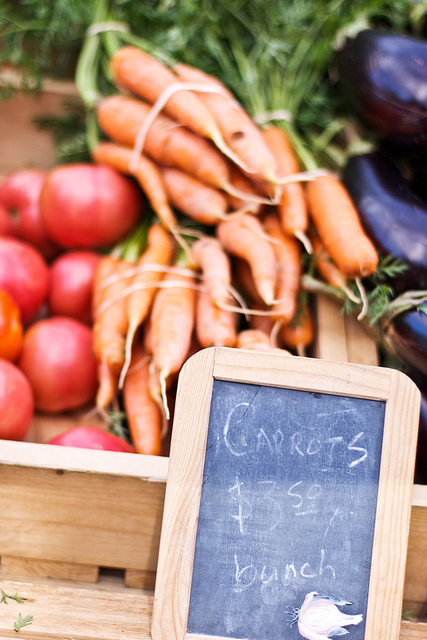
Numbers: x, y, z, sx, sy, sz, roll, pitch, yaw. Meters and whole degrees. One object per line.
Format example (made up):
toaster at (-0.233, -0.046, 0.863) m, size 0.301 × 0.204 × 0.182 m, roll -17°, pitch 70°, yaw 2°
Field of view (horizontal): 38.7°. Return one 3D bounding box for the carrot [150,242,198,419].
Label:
carrot at (-0.060, 0.011, 0.918) m, size 0.049 × 0.052 × 0.256 m, roll -16°, pitch 52°, yaw 41°

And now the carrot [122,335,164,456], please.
carrot at (-0.104, 0.126, 0.920) m, size 0.057 × 0.133 × 0.067 m, roll -18°, pitch 33°, yaw -29°

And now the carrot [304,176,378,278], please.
carrot at (0.190, -0.140, 0.941) m, size 0.060 × 0.058 × 0.186 m, roll -23°, pitch 67°, yaw 24°

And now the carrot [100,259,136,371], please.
carrot at (-0.143, -0.010, 0.922) m, size 0.043 × 0.040 × 0.157 m, roll 4°, pitch 70°, yaw -13°

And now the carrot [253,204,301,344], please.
carrot at (0.101, -0.067, 0.983) m, size 0.075 × 0.220 × 0.058 m, roll 10°, pitch 29°, yaw 23°

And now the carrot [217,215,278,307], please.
carrot at (0.061, -0.095, 0.952) m, size 0.086 × 0.127 × 0.109 m, roll -8°, pitch 19°, yaw -5°

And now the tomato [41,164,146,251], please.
tomato at (-0.187, -0.194, 0.979) m, size 0.126 × 0.122 × 0.188 m, roll 10°, pitch 25°, yaw 29°

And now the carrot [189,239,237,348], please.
carrot at (0.006, -0.034, 0.944) m, size 0.063 × 0.180 × 0.057 m, roll 21°, pitch 34°, yaw 32°

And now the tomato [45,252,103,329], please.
tomato at (-0.223, -0.060, 1.039) m, size 0.107 × 0.129 × 0.105 m, roll -5°, pitch 34°, yaw -29°
